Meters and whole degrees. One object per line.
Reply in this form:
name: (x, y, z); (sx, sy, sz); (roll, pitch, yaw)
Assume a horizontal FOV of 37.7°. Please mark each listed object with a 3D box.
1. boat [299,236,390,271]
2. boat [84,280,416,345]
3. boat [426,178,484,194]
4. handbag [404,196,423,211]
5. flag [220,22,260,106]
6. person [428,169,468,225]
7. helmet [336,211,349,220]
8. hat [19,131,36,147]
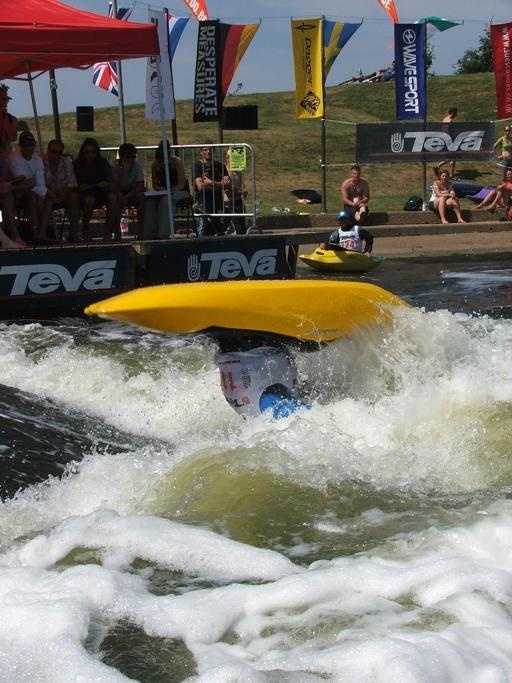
boat: (1.272, -1.239, 11.057); (1.062, 0.246, 0.466); (1, -4, 5)
boat: (0.016, -0.159, 3.914); (2.230, 0.310, 0.489); (0, 10, -32)
boat: (5.230, -3.966, 19.299); (1.170, 0.296, 0.593); (11, 20, 9)
handbag: (3.771, -3.263, 17.887); (0.454, 0.308, 0.372); (-4, 12, 4)
flag: (-0.340, -5.213, 13.938); (0.636, 1.335, 0.918); (-2, 13, 15)
person: (4.390, -3.280, 17.129); (0.674, 1.150, 0.828); (-6, 13, -1)
helmet: (1.286, -1.854, 11.061); (0.155, 0.124, 0.189); (-3, 11, 8)
hat: (-2.383, -2.072, 7.704); (0.168, 0.106, 0.233); (-3, 8, -28)
